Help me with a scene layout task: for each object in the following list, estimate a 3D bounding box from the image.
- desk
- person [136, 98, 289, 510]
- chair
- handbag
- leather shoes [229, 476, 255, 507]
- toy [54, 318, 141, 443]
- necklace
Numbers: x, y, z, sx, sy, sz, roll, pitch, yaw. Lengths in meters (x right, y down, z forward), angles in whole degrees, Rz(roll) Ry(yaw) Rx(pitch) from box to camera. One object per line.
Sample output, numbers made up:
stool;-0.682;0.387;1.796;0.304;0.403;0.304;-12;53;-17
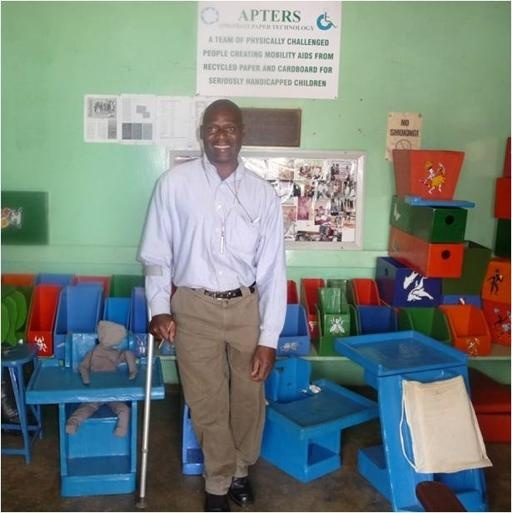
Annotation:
desk;-0.679;0.761;2.363;0.714;0.675;0.485;1;-2;-5
person;-0.151;0.209;2.114;0.546;1.632;0.446;-7;17;-32
chair;-0.702;0.687;2.348;0.303;0.659;0.247;14;-36;-28
handbag;0.773;0.705;2.164;0.374;0.423;0.126;2;-12;-15
leather shoes;-0.049;0.981;2.173;0.058;0.069;0.159;1;2;-5
toy;-0.669;0.541;2.311;0.253;0.489;0.126;7;-36;-14
necklace;-0.091;-0.187;2.070;0.217;0.352;0.082;-7;-1;-17
